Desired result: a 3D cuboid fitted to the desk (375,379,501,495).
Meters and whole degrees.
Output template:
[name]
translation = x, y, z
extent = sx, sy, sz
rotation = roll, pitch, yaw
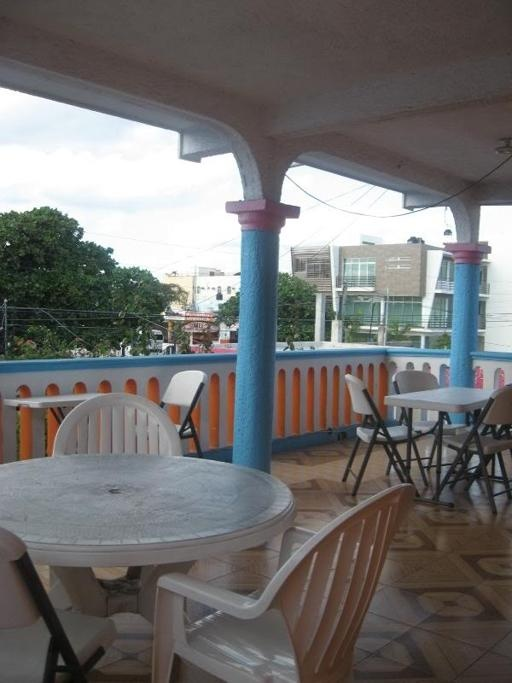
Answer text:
[desk]
translation = 1.446, 0.804, 4.991
extent = 0.683, 0.807, 1.226
rotation = 2, 2, 23
